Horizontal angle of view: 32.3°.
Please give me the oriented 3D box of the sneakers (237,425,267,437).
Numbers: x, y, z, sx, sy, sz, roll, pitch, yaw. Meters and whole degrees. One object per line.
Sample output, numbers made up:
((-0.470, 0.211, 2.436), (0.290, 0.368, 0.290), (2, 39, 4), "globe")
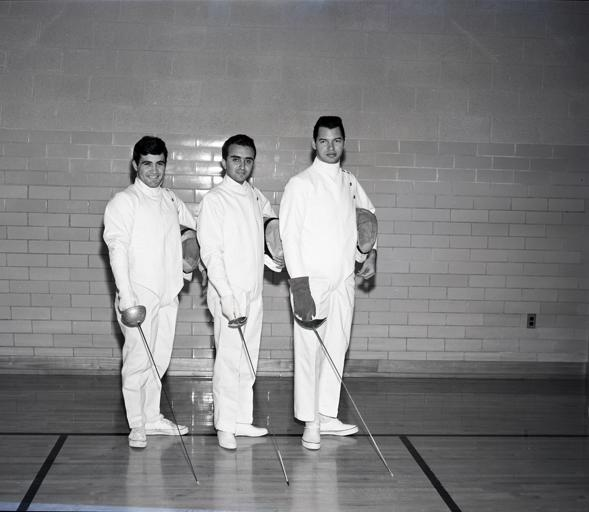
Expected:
((-0.282, 1.116, 6.504), (0.212, 0.072, 0.072), (1, 0, -10), "sneakers")

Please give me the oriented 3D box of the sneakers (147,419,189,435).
((-0.827, 1.100, 6.562), (0.294, 0.098, 0.098), (1, -5, -4), "sneakers")

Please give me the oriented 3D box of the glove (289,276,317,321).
((0.051, 0.258, 6.224), (0.180, 0.248, 0.099), (-7, 1, 0), "glove")

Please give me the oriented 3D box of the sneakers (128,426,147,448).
((-0.975, 1.127, 6.316), (0.078, 0.087, 0.147), (5, -21, -15), "sneakers")

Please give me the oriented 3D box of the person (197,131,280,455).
((-0.358, 0.207, 6.468), (0.435, 1.946, 0.532), (6, 8, 28), "person")

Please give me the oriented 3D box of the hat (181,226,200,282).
((-0.681, -0.029, 6.597), (0.108, 0.264, 0.208), (1, -4, 18), "hat")

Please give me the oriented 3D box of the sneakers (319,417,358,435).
((0.268, 1.100, 6.599), (0.294, 0.100, 0.101), (1, 2, -4), "sneakers")

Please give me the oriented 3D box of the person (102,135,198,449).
((-0.877, 0.212, 6.434), (0.435, 1.924, 0.660), (7, 9, 37), "person")

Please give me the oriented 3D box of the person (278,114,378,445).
((0.197, 0.154, 6.474), (0.449, 2.067, 0.625), (6, 8, 29), "person")

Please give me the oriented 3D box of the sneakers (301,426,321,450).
((0.105, 1.137, 6.350), (0.129, 0.106, 0.315), (1, -7, -2), "sneakers")
